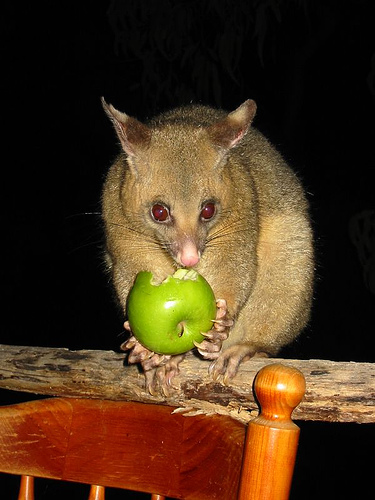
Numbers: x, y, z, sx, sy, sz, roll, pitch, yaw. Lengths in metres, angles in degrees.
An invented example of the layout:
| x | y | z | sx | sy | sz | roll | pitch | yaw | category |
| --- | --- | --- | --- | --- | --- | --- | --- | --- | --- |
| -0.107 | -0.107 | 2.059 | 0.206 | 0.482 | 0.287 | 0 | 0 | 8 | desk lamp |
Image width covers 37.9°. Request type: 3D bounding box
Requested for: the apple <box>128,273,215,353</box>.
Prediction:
| x | y | z | sx | sy | sz | roll | pitch | yaw | category |
| --- | --- | --- | --- | --- | --- | --- | --- | --- | --- |
| -0.056 | 0.186 | 1.937 | 0.285 | 0.281 | 0.318 | -1 | 9 | -7 | apple |
